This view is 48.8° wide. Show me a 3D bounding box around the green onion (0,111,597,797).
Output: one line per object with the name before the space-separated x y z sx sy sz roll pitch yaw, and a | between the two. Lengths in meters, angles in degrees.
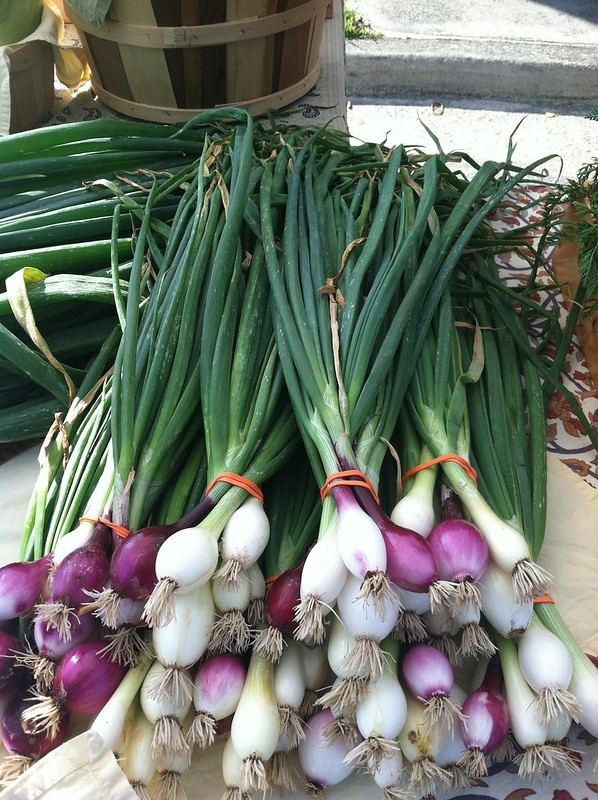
green onion | -0.010 0.109 1.151 0.884 0.311 0.991 -1 60 8
